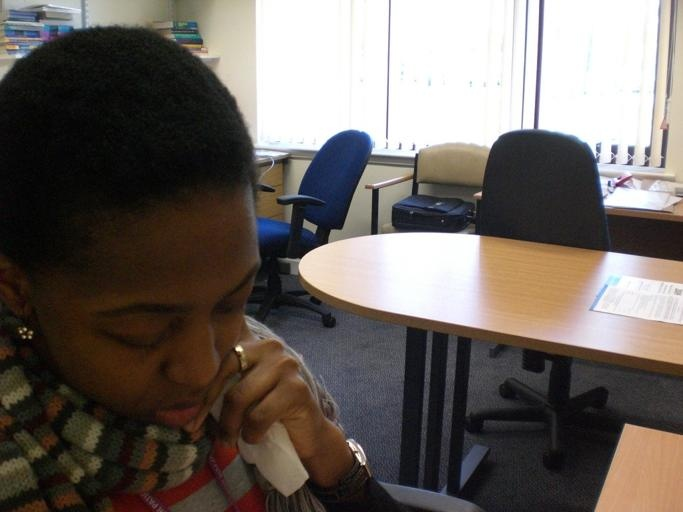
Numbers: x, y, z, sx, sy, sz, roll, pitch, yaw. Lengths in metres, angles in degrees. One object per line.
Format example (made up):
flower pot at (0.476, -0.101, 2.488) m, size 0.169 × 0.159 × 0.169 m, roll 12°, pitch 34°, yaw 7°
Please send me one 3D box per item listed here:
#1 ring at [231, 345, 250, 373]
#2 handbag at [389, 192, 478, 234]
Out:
ring at (-0.140, 0.141, 0.774) m, size 0.014 × 0.052 × 0.050 m, roll -12°, pitch -17°, yaw -16°
handbag at (0.554, -0.261, 3.467) m, size 0.334 × 0.121 × 0.297 m, roll 4°, pitch 16°, yaw 15°
